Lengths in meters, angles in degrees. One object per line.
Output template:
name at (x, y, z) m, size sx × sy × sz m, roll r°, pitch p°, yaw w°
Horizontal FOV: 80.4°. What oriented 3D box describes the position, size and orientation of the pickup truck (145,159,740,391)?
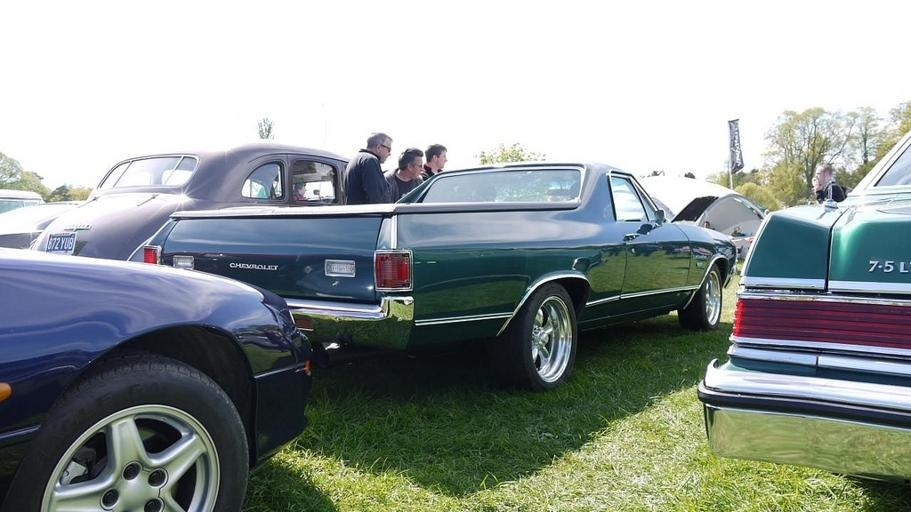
pickup truck at (0.821, 0.013, 5.623) m, size 2.408 × 1.404 × 5.123 m, roll 4°, pitch 8°, yaw 44°
